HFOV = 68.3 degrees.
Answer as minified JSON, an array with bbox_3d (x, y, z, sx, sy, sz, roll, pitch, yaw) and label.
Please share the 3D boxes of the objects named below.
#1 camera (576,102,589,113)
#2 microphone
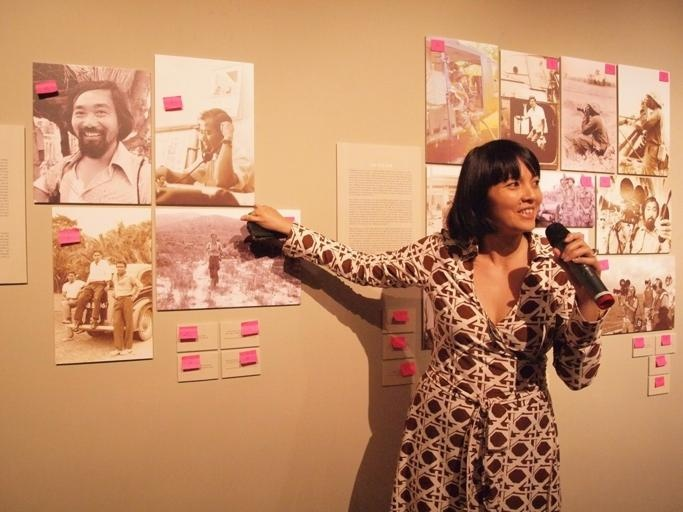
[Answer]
[{"bbox_3d":[1.186,-0.725,2.468,0.047,0.043,0.011,5,-4,-2],"label":"camera"},{"bbox_3d":[0.775,-0.008,1.779,0.116,0.125,0.462,-17,45,0],"label":"microphone"}]
